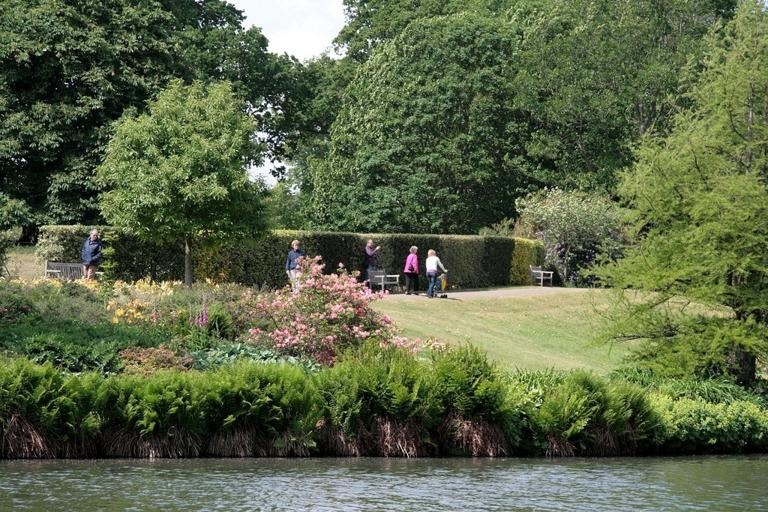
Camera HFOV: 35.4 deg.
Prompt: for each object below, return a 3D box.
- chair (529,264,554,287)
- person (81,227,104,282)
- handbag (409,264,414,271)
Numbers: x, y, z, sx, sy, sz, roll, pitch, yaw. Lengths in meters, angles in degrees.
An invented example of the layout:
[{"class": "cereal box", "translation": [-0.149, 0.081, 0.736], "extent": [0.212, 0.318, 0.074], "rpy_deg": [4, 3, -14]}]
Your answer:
[{"class": "chair", "translation": [7.604, 0.914, 57.227], "extent": [0.903, 1.383, 0.970], "rpy_deg": [-2, -2, 37]}, {"class": "person", "translation": [-9.459, -0.055, 38.919], "extent": [0.642, 1.511, 0.757], "rpy_deg": [0, 11, -16]}, {"class": "handbag", "translation": [1.067, 0.448, 45.990], "extent": [0.190, 0.215, 0.361], "rpy_deg": [4, 1, 8]}]
